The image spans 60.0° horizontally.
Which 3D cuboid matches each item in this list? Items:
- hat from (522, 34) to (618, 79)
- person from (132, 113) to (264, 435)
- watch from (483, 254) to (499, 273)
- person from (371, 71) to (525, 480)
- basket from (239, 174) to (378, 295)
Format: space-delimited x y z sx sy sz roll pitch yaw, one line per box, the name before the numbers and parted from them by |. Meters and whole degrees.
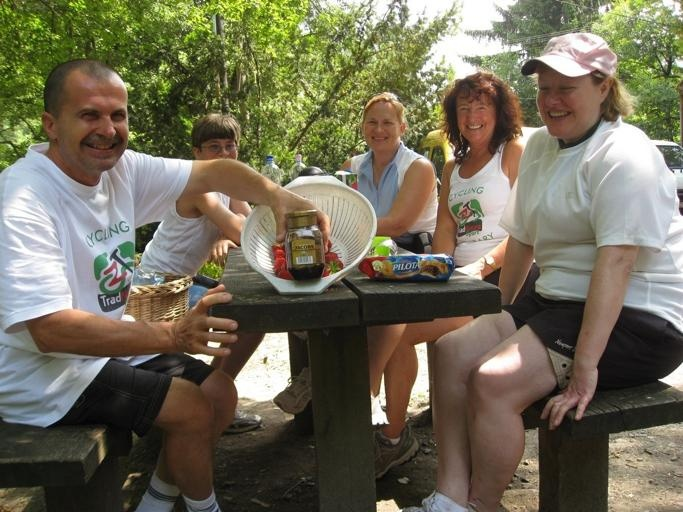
hat | 1.120 -0.942 2.857 0.341 0.176 0.276 -2 9 -16
person | -0.912 0.121 4.138 1.137 2.165 0.649 1 1 43
watch | 0.926 0.042 3.707 0.068 0.112 0.110 -20 59 -13
person | 0.679 0.070 3.973 1.396 2.666 0.779 -8 12 -33
basket | -0.141 -0.123 2.632 0.475 0.637 0.527 -1 9 -4
